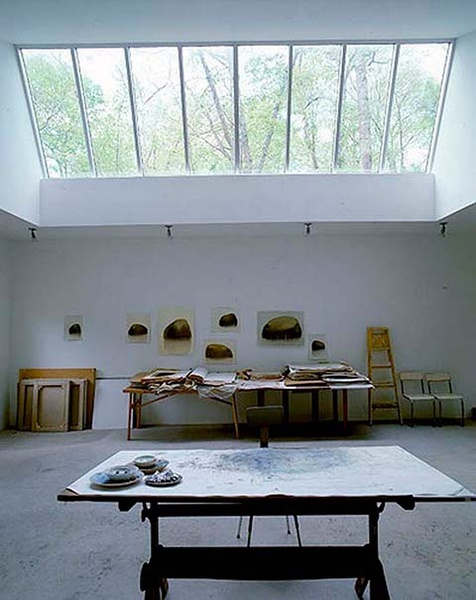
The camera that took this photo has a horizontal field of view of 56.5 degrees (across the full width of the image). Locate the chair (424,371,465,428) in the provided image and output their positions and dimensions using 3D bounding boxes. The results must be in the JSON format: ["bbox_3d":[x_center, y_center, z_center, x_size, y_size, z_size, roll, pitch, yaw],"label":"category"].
[{"bbox_3d":[3.403,1.609,7.329,0.527,0.737,0.621,-5,-1,26],"label":"chair"}]

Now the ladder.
[{"bbox_3d":[2.469,1.078,7.675,0.450,1.212,0.407,-6,20,16],"label":"ladder"}]
